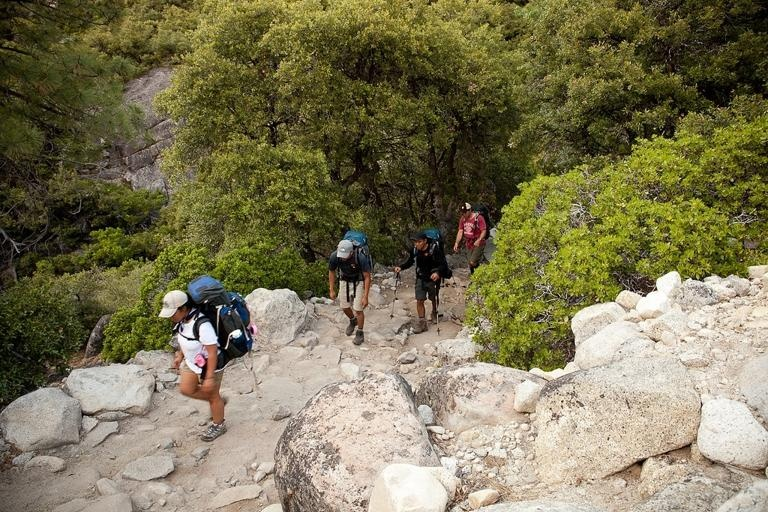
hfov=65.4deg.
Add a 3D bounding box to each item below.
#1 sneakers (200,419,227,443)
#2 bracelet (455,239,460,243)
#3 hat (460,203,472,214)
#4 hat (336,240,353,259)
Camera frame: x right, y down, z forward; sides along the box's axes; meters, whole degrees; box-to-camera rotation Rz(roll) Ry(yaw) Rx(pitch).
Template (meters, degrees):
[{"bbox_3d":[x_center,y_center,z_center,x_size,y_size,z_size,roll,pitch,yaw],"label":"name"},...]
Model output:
[{"bbox_3d":[-3.305,3.435,11.744,0.223,0.292,0.614,3,0,17],"label":"sneakers"},{"bbox_3d":[2.164,-0.419,17.740,0.108,0.092,0.356,10,-8,-8],"label":"bracelet"},{"bbox_3d":[2.328,-1.399,17.545,0.359,0.296,0.586,5,2,27],"label":"hat"},{"bbox_3d":[-0.951,-0.157,14.065,0.297,0.241,0.436,8,57,5],"label":"hat"}]
